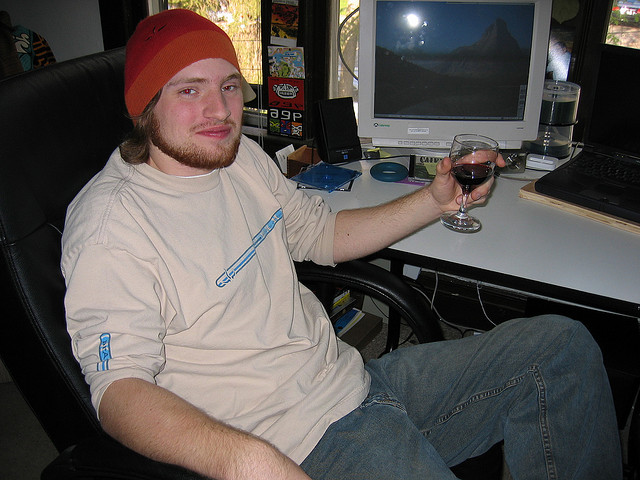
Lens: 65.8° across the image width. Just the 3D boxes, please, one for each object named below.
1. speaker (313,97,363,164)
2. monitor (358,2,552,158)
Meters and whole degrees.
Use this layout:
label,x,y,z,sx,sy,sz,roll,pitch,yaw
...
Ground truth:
label,x,y,z,sx,sy,sz,roll,pitch,yaw
speaker,0.077,-0.438,1.989,0.149,0.237,0.128,-12,19,-19
monitor,0.474,-0.588,1.790,0.675,0.525,0.064,-4,21,1
